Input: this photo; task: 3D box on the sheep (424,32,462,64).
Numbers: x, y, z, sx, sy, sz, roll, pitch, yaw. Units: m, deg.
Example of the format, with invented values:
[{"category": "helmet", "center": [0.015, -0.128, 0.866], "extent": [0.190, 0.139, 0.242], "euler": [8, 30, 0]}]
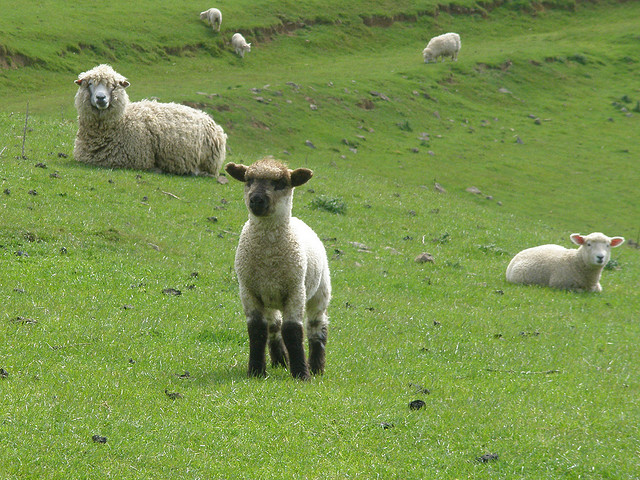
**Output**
[{"category": "sheep", "center": [9.294, -14.428, 78.500], "extent": [3.738, 2.067, 1.413], "euler": [-20, 22, -30]}]

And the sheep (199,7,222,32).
[{"category": "sheep", "center": [-7.465, -15.638, 73.418], "extent": [0.837, 1.556, 2.852], "euler": [-13, 31, -25]}]

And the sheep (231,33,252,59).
[{"category": "sheep", "center": [-5.509, -13.478, 72.134], "extent": [0.831, 1.539, 1.265], "euler": [-9, 20, -39]}]
